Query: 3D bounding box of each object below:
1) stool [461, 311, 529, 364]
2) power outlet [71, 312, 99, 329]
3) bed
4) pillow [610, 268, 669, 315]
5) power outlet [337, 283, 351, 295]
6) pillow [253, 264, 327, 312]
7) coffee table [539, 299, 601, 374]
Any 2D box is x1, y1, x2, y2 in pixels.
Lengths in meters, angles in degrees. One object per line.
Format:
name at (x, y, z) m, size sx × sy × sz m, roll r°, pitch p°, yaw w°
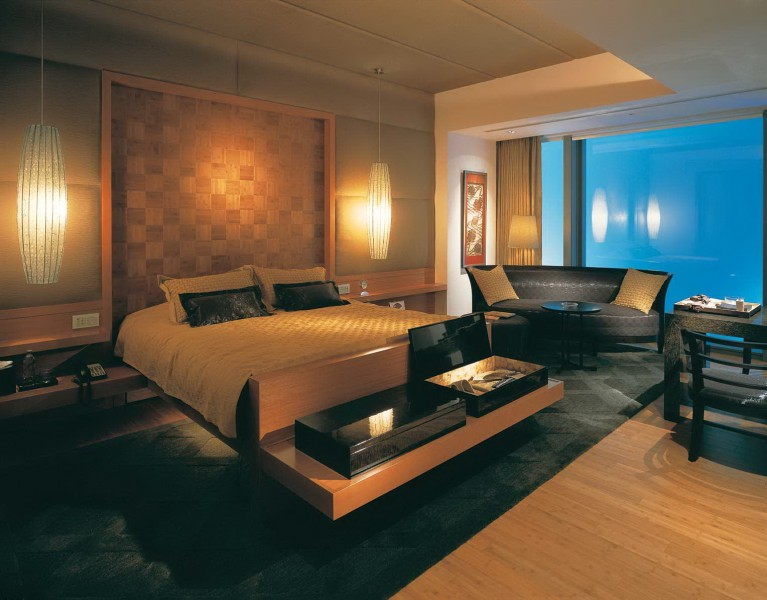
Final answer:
stool at (1.123, 0.332, 4.968) m, size 0.645 × 0.341 × 0.575 m, roll -1°, pitch 4°, yaw 3°
power outlet at (-2.308, 0.155, 4.158) m, size 0.154 × 0.077 × 0.017 m, roll -2°, pitch 4°, yaw -41°
bed at (-1.084, 0.292, 3.855) m, size 1.531 × 0.479 × 1.651 m, roll 6°, pitch 9°, yaw 42°
pillow at (2.809, -0.108, 5.852) m, size 0.158 × 0.450 × 0.501 m, roll 32°, pitch 0°, yaw -30°
power outlet at (-0.433, -0.115, 5.811) m, size 0.016 × 0.089 × 0.153 m, roll 4°, pitch 4°, yaw 44°
pillow at (-0.911, -0.163, 5.022) m, size 0.616 × 0.386 × 0.158 m, roll -10°, pitch -18°, yaw -42°
coffee table at (1.920, 0.334, 5.540) m, size 0.786 × 0.668 × 0.678 m, roll -2°, pitch 13°, yaw -6°
